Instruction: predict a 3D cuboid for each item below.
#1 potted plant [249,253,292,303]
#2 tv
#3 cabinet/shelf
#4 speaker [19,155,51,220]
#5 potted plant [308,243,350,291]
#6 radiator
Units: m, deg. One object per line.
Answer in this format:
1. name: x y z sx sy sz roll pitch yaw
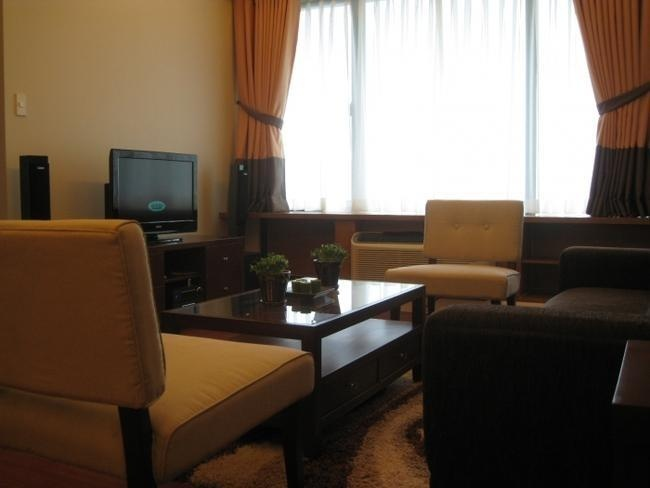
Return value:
1. potted plant: -0.220 0.148 2.398 0.192 0.249 0.179 0 -3 -2
2. tv: -1.180 -0.333 3.857 0.584 0.587 0.226 0 5 -3
3. cabinet/shelf: -0.857 0.179 3.501 0.160 0.396 0.440 2 6 22
4. speaker: -1.692 -0.338 3.135 0.168 0.371 0.246 -6 9 -29
5. potted plant: 0.020 0.107 2.688 0.179 0.223 0.203 0 6 15
6. radiator: 0.515 0.220 4.258 0.846 0.644 0.302 1 4 11
